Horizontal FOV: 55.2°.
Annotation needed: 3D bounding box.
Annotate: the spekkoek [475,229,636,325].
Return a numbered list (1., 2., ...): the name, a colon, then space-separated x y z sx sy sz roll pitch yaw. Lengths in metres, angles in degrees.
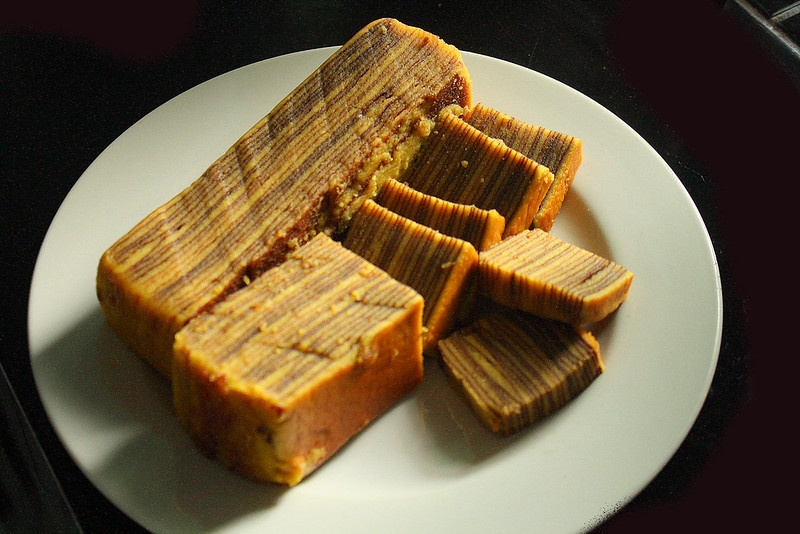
1. spekkoek: 0.596 0.043 2.902 0.450 0.167 0.345 29 47 30
